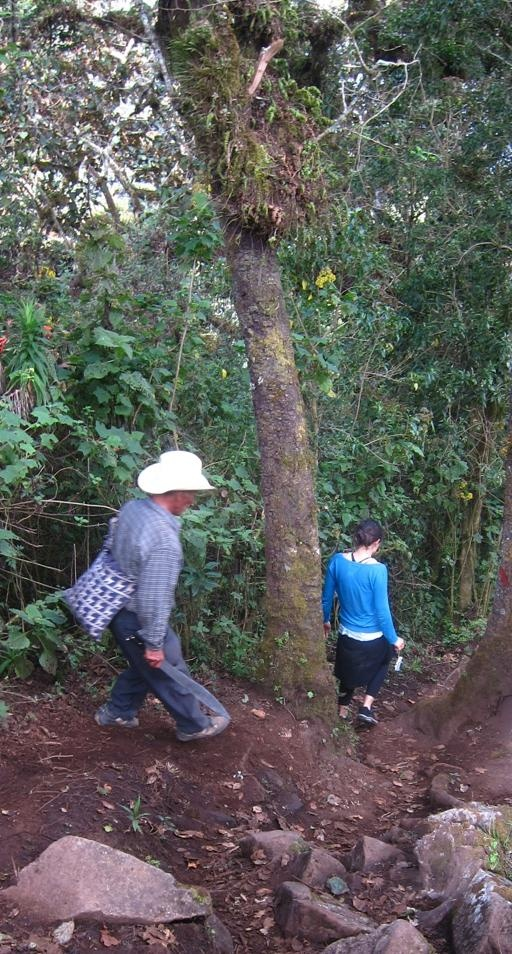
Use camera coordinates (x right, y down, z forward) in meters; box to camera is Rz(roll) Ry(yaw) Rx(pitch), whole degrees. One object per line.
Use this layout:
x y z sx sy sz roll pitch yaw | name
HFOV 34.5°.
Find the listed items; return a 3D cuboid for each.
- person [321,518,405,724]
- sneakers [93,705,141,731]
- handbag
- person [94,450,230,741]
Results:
0.781 1.116 6.158 0.639 1.615 0.459 10 7 10 | person
-0.853 1.436 4.966 0.311 0.112 0.144 1 4 29 | sneakers
-0.847 0.648 4.325 0.405 0.440 0.134 45 12 26 | handbag
-0.509 0.691 4.598 0.696 1.632 0.667 -11 23 -43 | person
